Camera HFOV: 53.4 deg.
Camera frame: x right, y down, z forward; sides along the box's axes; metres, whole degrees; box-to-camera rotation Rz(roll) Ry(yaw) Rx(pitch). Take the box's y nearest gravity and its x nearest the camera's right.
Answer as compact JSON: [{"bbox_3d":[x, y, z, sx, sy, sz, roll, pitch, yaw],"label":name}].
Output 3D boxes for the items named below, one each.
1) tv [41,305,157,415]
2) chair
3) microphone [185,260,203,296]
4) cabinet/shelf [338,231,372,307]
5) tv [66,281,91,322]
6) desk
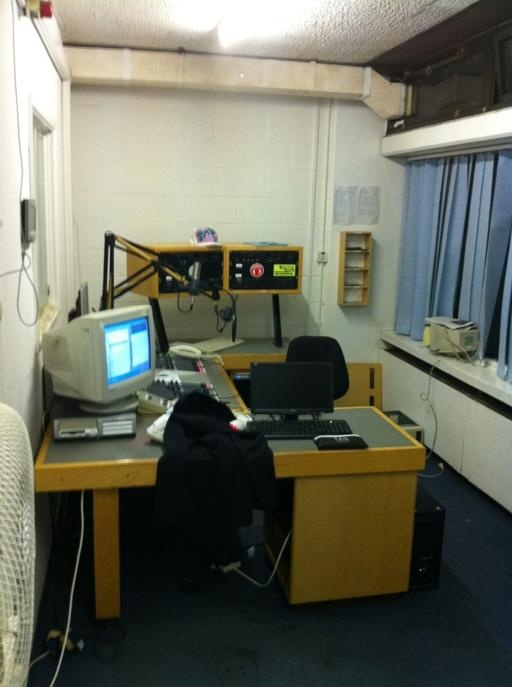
[{"bbox_3d":[-0.695,0.008,2.332,0.351,0.516,0.542,5,13,12],"label":"tv"},{"bbox_3d":[0.370,0.138,3.224,0.315,0.489,0.386,-1,1,-8],"label":"chair"},{"bbox_3d":[-0.337,-0.348,2.778,0.068,0.180,0.199,1,10,-7],"label":"microphone"},{"bbox_3d":[0.831,-0.608,4.252,0.294,0.629,0.250,3,9,7],"label":"cabinet/shelf"},{"bbox_3d":[-1.077,-0.254,3.053,0.126,0.283,0.280,0,22,-11],"label":"tv"},{"bbox_3d":[0.073,0.472,2.258,0.923,0.591,1.032,-2,13,-8],"label":"desk"}]
